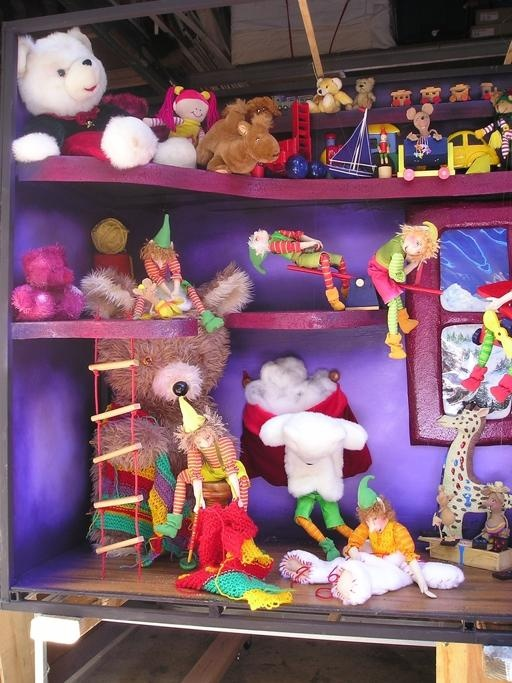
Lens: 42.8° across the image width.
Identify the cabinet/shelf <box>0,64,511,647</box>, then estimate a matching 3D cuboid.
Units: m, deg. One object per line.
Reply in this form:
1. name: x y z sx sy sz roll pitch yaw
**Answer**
1. cabinet/shelf: 0.008 0.144 2.290 1.579 1.681 1.488 -3 24 21
